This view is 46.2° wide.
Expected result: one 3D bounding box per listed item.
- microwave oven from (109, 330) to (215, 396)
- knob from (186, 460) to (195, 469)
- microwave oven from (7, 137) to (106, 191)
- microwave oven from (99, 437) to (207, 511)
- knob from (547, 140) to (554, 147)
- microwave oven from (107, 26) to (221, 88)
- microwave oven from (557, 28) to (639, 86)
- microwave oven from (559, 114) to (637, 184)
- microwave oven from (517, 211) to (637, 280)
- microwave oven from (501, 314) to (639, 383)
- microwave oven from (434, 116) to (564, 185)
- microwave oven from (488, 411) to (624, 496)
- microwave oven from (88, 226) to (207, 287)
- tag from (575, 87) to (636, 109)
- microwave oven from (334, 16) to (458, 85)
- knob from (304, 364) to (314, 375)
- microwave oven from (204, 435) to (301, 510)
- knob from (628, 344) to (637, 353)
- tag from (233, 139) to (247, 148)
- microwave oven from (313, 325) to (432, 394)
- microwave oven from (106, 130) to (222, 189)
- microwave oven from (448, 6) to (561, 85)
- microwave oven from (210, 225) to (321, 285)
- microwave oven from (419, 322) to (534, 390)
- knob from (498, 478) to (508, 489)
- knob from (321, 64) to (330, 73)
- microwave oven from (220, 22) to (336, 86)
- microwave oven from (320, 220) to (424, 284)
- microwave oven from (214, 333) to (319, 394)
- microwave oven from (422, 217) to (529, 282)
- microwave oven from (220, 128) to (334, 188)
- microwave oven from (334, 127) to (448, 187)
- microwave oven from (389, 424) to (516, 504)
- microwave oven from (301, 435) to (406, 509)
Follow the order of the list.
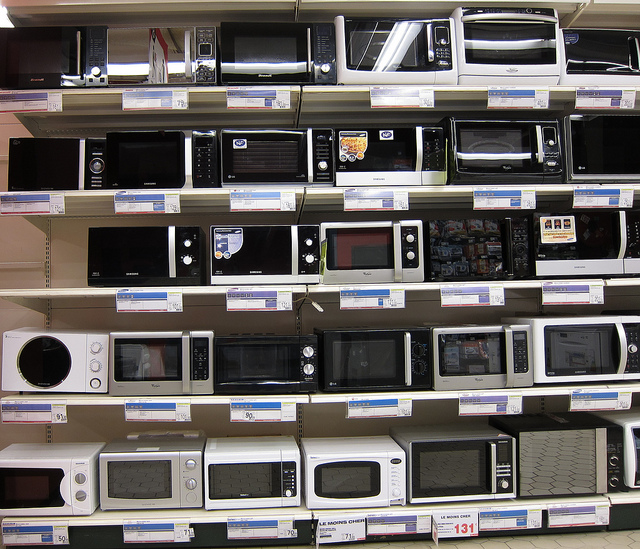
[{"bbox_3d":[-0.862,0.488,4.269,0.612,0.375,0.370,-2,91,3],"label":"microwave oven"},{"bbox_3d":[-0.699,1.028,4.064,0.040,0.019,0.049,1,84,0],"label":"knob"},{"bbox_3d":[-1.455,-0.607,4.187,0.461,0.320,0.286,0,89,-6],"label":"microwave oven"},{"bbox_3d":[-0.896,1.105,4.260,0.574,0.410,0.347,-3,96,6],"label":"microwave oven"},{"bbox_3d":[1.311,-0.745,4.269,0.029,0.036,0.020,1,91,1],"label":"knob"},{"bbox_3d":[-0.911,-1.188,4.365,0.702,0.449,0.357,-1,86,2],"label":"microwave oven"},{"bbox_3d":[1.609,-1.249,4.342,0.509,0.317,0.317,0,90,-4],"label":"microwave oven"},{"bbox_3d":[1.581,-0.710,4.300,0.405,0.213,0.338,0,88,-5],"label":"microwave oven"},{"bbox_3d":[1.496,-0.170,4.433,0.603,0.381,0.359,0,88,-3],"label":"microwave oven"},{"bbox_3d":[1.475,0.412,4.240,0.538,0.386,0.274,-1,90,-10],"label":"microwave oven"},{"bbox_3d":[1.125,-0.688,4.348,0.649,0.411,0.402,3,92,30],"label":"microwave oven"},{"bbox_3d":[1.242,1.071,4.431,0.741,0.710,0.365,7,81,-35],"label":"microwave oven"},{"bbox_3d":[-0.971,-0.106,4.345,0.573,0.344,0.319,0,89,-2],"label":"microwave oven"},{"bbox_3d":[1.623,-1.002,4.264,0.251,0.141,0.117,1,89,1],"label":"tag"},{"bbox_3d":[0.510,-1.304,4.378,0.689,0.439,0.404,5,110,23],"label":"microwave oven"},{"bbox_3d":[-0.060,0.523,4.138,0.052,0.017,0.055,1,84,0],"label":"knob"},{"bbox_3d":[-0.367,1.127,4.225,0.522,0.374,0.313,0,86,-6],"label":"microwave oven"},{"bbox_3d":[1.768,0.421,4.250,0.044,0.014,0.043,3,91,-4],"label":"knob"},{"bbox_3d":[-0.448,-0.725,4.164,0.054,0.007,0.037,0,91,-7],"label":"tag"},{"bbox_3d":[0.349,0.531,4.326,0.641,0.409,0.359,-5,71,15],"label":"microwave oven"},{"bbox_3d":[-1.013,-0.696,4.364,0.678,0.488,0.313,-8,111,-36],"label":"microwave oven"},{"bbox_3d":[1.073,-1.293,4.293,0.639,0.430,0.444,0,90,-3],"label":"microwave oven"},{"bbox_3d":[-0.250,-0.100,4.346,0.662,0.399,0.340,-1,86,19],"label":"microwave oven"},{"bbox_3d":[0.937,0.476,4.303,0.579,0.400,0.347,-4,84,17],"label":"microwave oven"},{"bbox_3d":[1.008,1.149,4.134,0.045,0.018,0.054,-5,88,3],"label":"knob"},{"bbox_3d":[0.031,-1.148,4.177,0.042,0.012,0.046,33,85,3],"label":"knob"},{"bbox_3d":[-0.231,-1.233,4.355,0.644,0.392,0.330,0,93,4],"label":"microwave oven"},{"bbox_3d":[0.318,-0.095,4.364,0.583,0.367,0.364,-2,77,11],"label":"microwave oven"},{"bbox_3d":[-0.323,0.557,4.303,0.597,0.426,0.344,-1,73,-6],"label":"microwave oven"},{"bbox_3d":[0.989,-0.157,4.410,0.634,0.364,0.372,-2,92,32],"label":"microwave oven"},{"bbox_3d":[-0.230,-0.644,4.185,0.570,0.343,0.289,0,89,-4],"label":"microwave oven"},{"bbox_3d":[0.403,-0.668,4.204,0.553,0.349,0.279,0,92,-3],"label":"microwave oven"},{"bbox_3d":[0.698,1.132,4.346,0.735,0.567,0.361,8,75,-30],"label":"microwave oven"},{"bbox_3d":[0.169,1.030,4.246,0.481,0.345,0.271,0,89,-7],"label":"microwave oven"}]
